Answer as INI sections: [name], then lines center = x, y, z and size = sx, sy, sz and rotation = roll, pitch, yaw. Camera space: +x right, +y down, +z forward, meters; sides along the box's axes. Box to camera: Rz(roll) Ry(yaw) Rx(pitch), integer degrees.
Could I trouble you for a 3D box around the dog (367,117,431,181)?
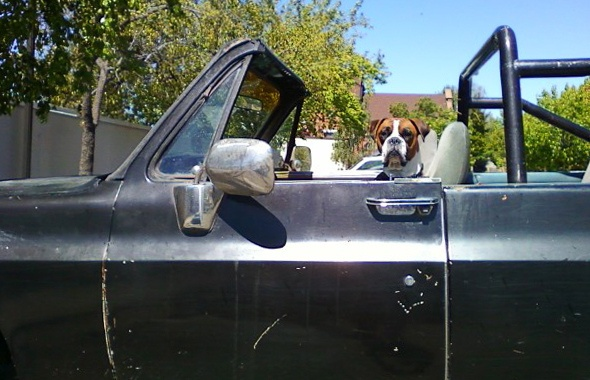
[dog]
center = 1.014, -0.418, 4.843
size = 0.568, 0.603, 0.615
rotation = 2, 1, 11
